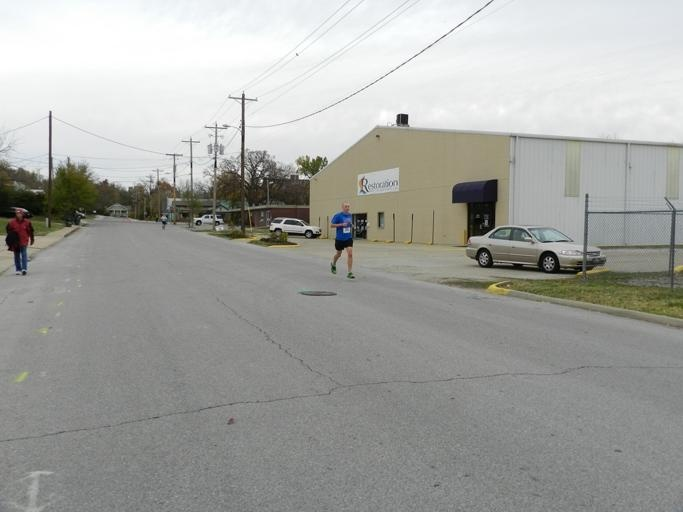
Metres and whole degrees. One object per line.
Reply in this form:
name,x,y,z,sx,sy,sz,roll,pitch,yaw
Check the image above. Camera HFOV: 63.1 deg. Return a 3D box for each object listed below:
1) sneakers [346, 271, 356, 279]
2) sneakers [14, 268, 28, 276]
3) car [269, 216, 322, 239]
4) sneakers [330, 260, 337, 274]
sneakers,0.283,0.515,15.150,0.183,0.209,0.448,0,7,-3
sneakers,-9.192,0.464,16.136,0.133,0.181,0.420,0,-5,-7
car,-3.766,-2.258,46.737,3.908,1.680,1.851,2,6,6
sneakers,-0.203,0.314,15.965,0.108,0.369,0.146,-10,-10,-32
